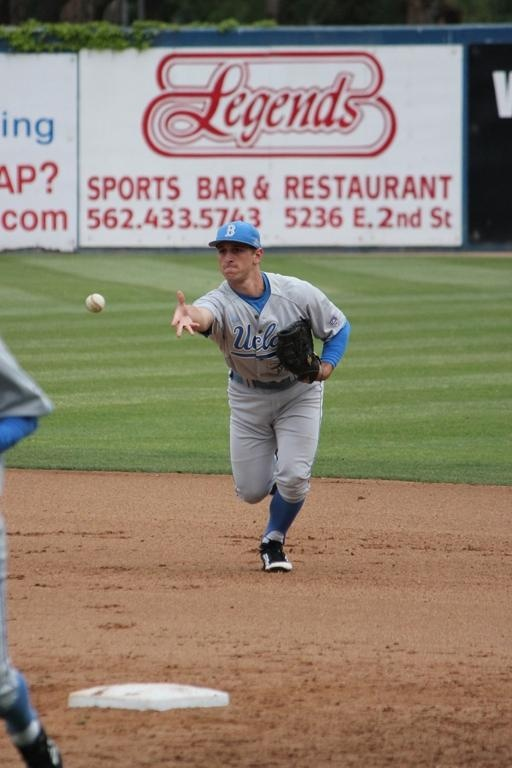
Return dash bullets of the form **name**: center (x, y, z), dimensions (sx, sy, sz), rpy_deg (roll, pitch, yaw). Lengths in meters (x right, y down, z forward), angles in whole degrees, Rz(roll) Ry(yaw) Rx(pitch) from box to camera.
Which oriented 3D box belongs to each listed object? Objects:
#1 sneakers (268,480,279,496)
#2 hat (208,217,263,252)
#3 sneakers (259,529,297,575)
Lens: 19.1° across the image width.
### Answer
- **sneakers**: center (0.088, 0.576, 8.361), dimensions (0.052, 0.063, 0.159), rpy_deg (-10, 25, 9)
- **hat**: center (-0.117, -0.749, 7.819), dimensions (0.259, 0.137, 0.204), rpy_deg (-1, 13, -4)
- **sneakers**: center (0.107, 0.926, 8.228), dimensions (0.106, 0.121, 0.252), rpy_deg (-1, 6, -14)
